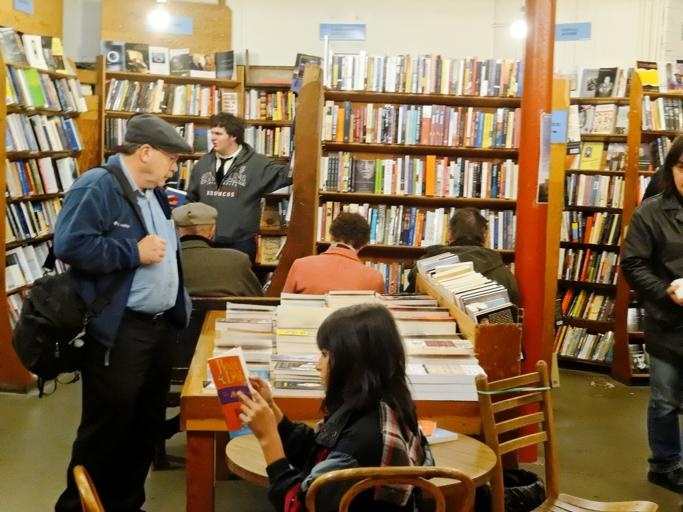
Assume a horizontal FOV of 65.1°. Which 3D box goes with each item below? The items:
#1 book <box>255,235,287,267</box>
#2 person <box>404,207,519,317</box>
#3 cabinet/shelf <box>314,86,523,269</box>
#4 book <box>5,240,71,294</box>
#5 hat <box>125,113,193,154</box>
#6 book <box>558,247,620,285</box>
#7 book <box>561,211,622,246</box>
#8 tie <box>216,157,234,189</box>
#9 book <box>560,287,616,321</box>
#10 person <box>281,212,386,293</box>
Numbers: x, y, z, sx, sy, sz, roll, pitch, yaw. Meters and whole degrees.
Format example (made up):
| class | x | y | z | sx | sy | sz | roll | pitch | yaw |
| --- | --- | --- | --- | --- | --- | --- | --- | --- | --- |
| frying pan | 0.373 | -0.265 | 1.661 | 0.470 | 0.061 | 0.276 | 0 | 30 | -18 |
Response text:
| class | x | y | z | sx | sy | sz | roll | pitch | yaw |
| --- | --- | --- | --- | --- | --- | --- | --- | --- | --- |
| book | -0.859 | -0.070 | 6.246 | 0.461 | 0.378 | 0.104 | 3 | 0 | 0 |
| person | 0.885 | 0.127 | 3.790 | 0.810 | 0.857 | 0.521 | 5 | 14 | 6 |
| cabinet/shelf | 0.737 | -0.809 | 4.999 | 2.114 | 1.639 | 0.631 | 0 | 7 | 2 |
| book | -2.792 | 0.075 | 4.755 | 0.145 | 0.507 | 0.578 | 7 | 1 | 17 |
| hat | -0.911 | -0.590 | 2.661 | 0.354 | 0.143 | 0.241 | 9 | -4 | -19 |
| book | 2.613 | 0.113 | 5.583 | 0.665 | 0.394 | 0.376 | 3 | 6 | 18 |
| book | 2.810 | -0.302 | 5.874 | 0.728 | 0.336 | 0.508 | 3 | -1 | 33 |
| tie | -1.060 | -0.760 | 4.857 | 0.170 | 0.241 | 0.064 | 3 | -11 | 25 |
| book | 2.599 | 0.499 | 5.707 | 0.592 | 0.156 | 0.456 | 7 | 9 | 29 |
| person | -0.070 | -0.043 | 3.863 | 0.736 | 0.673 | 0.447 | 6 | 12 | 1 |
